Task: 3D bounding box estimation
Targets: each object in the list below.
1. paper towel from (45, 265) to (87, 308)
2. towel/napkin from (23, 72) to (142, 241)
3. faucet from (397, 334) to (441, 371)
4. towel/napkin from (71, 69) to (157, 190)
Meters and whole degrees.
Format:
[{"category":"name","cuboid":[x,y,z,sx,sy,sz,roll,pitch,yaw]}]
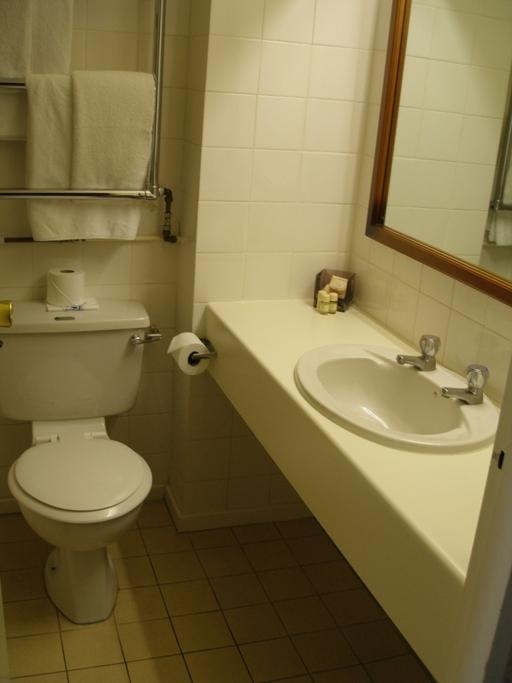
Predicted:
[{"category":"paper towel","cuboid":[-0.629,-0.170,1.794,0.112,0.115,0.126,4,28,-9]},{"category":"towel/napkin","cuboid":[-0.514,-0.584,1.618,0.358,0.531,0.133,-7,29,-22]},{"category":"faucet","cuboid":[0.398,0.010,1.370,0.109,0.117,0.069,2,29,6]},{"category":"towel/napkin","cuboid":[-0.490,-0.654,1.786,0.128,0.392,0.459,-11,18,-27]}]
